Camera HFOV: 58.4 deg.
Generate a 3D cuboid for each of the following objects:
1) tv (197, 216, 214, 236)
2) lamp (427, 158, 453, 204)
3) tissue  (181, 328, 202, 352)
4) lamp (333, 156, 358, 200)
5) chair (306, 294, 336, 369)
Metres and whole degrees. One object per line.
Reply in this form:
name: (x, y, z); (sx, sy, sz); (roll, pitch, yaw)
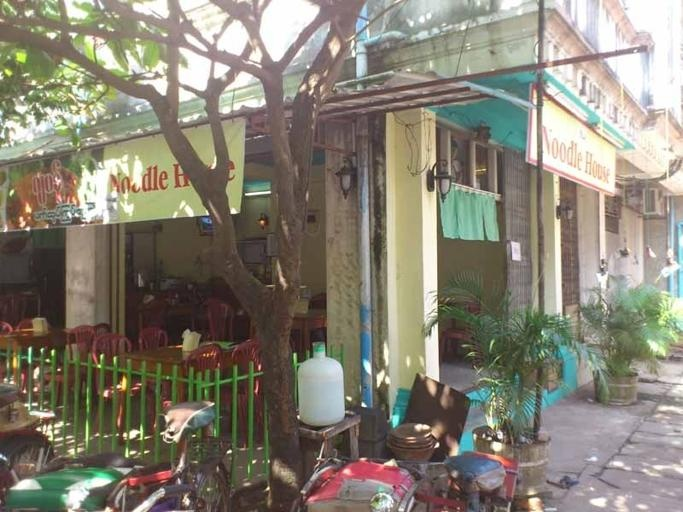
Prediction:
tv: (-3.150, -0.700, 14.113); (0.360, 0.442, 0.749); (-2, 20, -6)
lamp: (1.324, -1.004, 8.103); (0.303, 0.530, 0.427); (9, 5, 33)
tissue : (-1.969, 1.112, 7.966); (0.253, 0.321, 0.293); (-3, -15, 18)
lamp: (0.063, -1.053, 7.939); (0.277, 0.572, 0.186); (7, 5, 5)
chair: (-0.353, 1.220, 10.358); (0.635, 1.497, 0.726); (0, 2, 14)
